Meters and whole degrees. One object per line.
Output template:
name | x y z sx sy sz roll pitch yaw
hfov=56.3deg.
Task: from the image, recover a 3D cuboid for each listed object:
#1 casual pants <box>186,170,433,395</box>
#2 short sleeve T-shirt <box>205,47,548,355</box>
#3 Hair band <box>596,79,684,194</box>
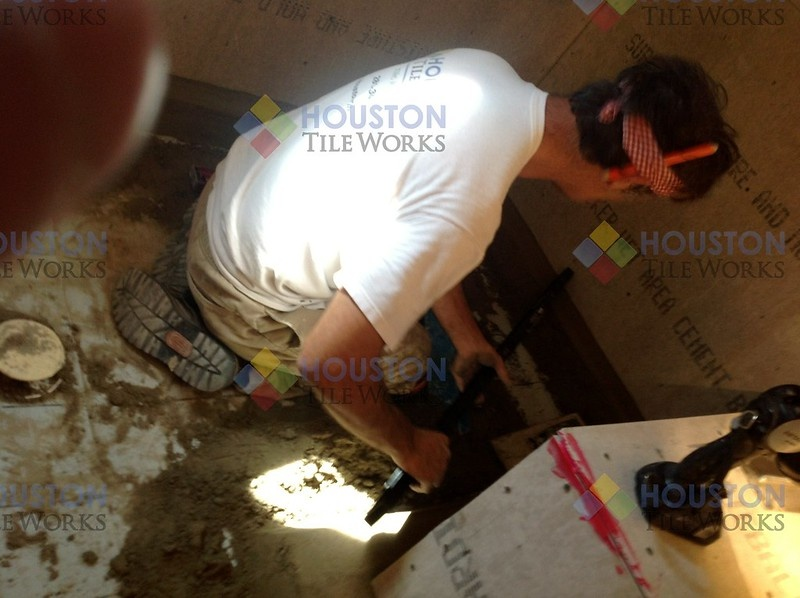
casual pants | -0.281 -0.068 2.388 0.667 0.621 0.264 49 24 3
short sleeve T-shirt | -0.100 -0.268 2.194 0.900 0.906 0.703 -21 59 -35
Hair band | 0.625 -0.393 1.891 0.245 0.192 0.073 53 -6 -16
